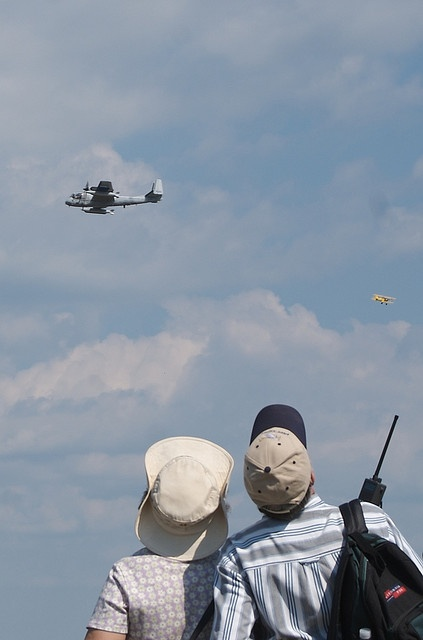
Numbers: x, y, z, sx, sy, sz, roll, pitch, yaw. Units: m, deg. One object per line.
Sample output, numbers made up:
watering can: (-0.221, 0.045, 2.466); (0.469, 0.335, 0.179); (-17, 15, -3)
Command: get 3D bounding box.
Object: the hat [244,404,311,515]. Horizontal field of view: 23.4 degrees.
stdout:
hat: (0.481, 1.031, 7.724); (0.565, 0.769, 0.485); (-7, -21, 13)
